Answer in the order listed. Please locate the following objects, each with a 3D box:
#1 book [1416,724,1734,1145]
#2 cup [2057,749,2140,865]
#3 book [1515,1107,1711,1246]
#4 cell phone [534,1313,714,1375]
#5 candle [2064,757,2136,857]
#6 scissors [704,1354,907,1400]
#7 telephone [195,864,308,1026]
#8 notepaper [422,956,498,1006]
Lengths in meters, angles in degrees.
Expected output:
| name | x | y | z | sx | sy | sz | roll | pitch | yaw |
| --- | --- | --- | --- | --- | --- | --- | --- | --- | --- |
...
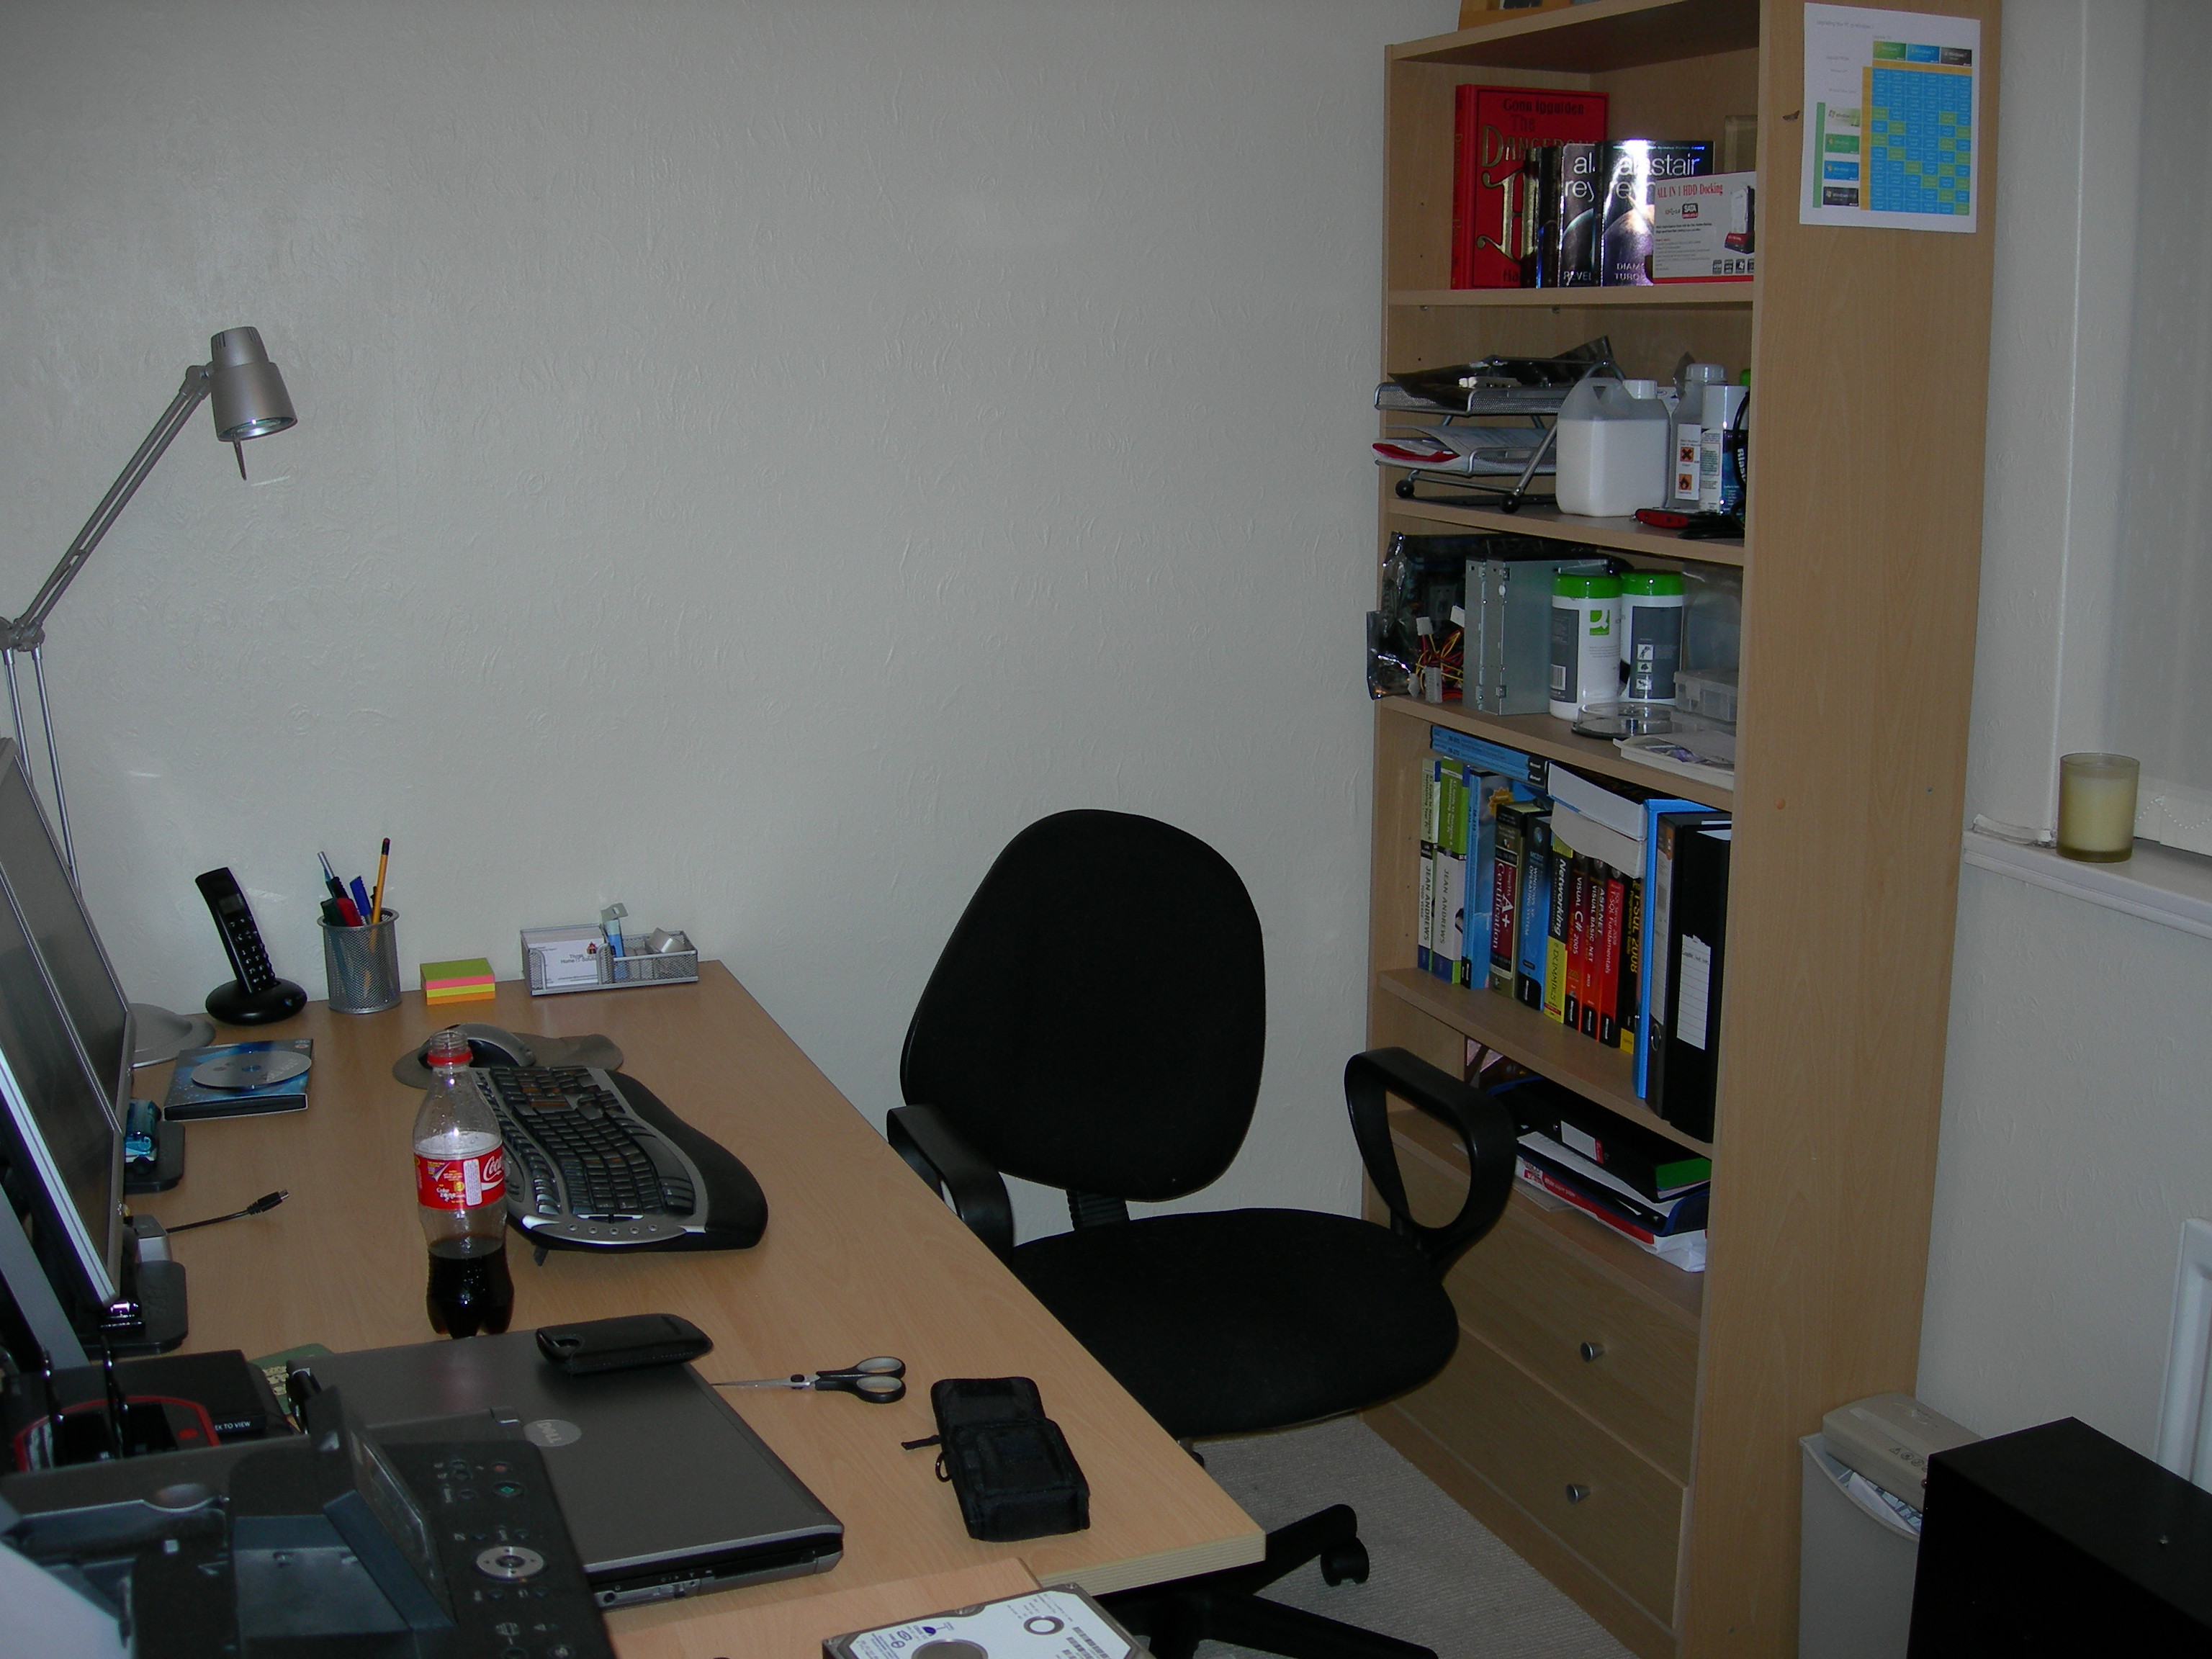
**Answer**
| name | x | y | z | sx | sy | sz | roll | pitch | yaw |
| --- | --- | --- | --- | --- | --- | --- | --- | --- | --- |
| book | 0.786 | 0.172 | 2.903 | 0.253 | 0.580 | 0.631 | -1 | 11 | -24 |
| cup | 1.356 | -0.040 | 2.382 | 0.122 | 0.159 | 0.132 | 0 | 2 | 0 |
| book | 0.838 | 0.589 | 2.928 | 0.210 | 0.053 | 0.212 | 32 | 19 | 37 |
| cell phone | -0.503 | 0.535 | 1.835 | 0.132 | 0.034 | 0.069 | -3 | 7 | -31 |
| candle | 1.365 | -0.035 | 2.424 | 0.113 | 0.148 | 0.123 | 2 | 1 | 40 |
| scissors | -0.315 | 0.567 | 1.841 | 0.170 | 0.015 | 0.072 | 1 | 12 | -5 |
| telephone | -1.354 | 0.180 | 2.767 | 0.135 | 0.242 | 0.142 | 7 | 19 | 19 |
| notepaper | -1.051 | 0.236 | 2.847 | 0.077 | 0.045 | 0.078 | -3 | 6 | -27 |
